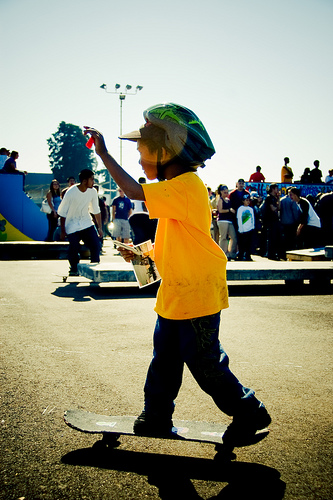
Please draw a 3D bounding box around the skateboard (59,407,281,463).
[{"bbox_3d":[-0.093,0.876,2.619,1.240,0.191,0.349,2,-1,5],"label":"skateboard"}]

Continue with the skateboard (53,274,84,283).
[{"bbox_3d":[-1.709,0.490,9.386,0.523,0.071,0.190,0,4,-23],"label":"skateboard"}]

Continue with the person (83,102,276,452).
[{"bbox_3d":[0.077,0.169,2.489,0.750,1.648,0.681,-2,5,10],"label":"person"}]

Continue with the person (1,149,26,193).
[{"bbox_3d":[-4.697,-2.426,16.516,0.685,1.234,1.987,-4,5,-14],"label":"person"}]

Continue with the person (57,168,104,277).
[{"bbox_3d":[-1.382,-0.441,8.522,0.821,1.688,0.524,-5,23,-20],"label":"person"}]

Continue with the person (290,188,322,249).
[{"bbox_3d":[3.209,-0.729,12.442,0.653,1.422,1.155,-2,5,7],"label":"person"}]
